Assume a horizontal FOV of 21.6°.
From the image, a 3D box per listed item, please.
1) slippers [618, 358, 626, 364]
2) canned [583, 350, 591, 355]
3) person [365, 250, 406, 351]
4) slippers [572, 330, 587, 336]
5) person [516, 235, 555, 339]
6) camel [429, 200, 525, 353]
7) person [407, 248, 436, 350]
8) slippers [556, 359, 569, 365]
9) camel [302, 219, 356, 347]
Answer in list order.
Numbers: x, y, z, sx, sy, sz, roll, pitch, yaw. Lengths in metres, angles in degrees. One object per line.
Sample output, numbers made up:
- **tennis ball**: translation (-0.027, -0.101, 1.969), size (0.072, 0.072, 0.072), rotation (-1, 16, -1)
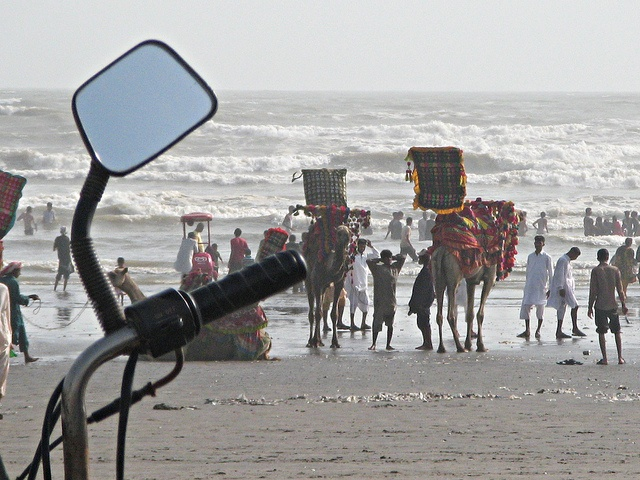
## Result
- **slippers**: translation (8.115, 3.245, 44.988), size (0.146, 0.083, 0.240), rotation (-1, 5, 8)
- **canned**: translation (7.333, 3.092, 45.934), size (0.142, 0.122, 0.109), rotation (2, 3, -33)
- **person**: translation (1.817, 1.628, 46.591), size (1.286, 2.792, 0.810), rotation (2, -1, -14)
- **slippers**: translation (7.526, 2.684, 48.386), size (0.413, 0.168, 0.450), rotation (1, 14, 6)
- **person**: translation (6.126, 1.304, 48.695), size (1.050, 2.946, 1.064), rotation (4, 10, 28)
- **camel**: translation (4.421, 0.779, 47.265), size (2.412, 4.249, 2.335), rotation (3, 11, 9)
- **person**: translation (2.866, 1.732, 46.659), size (0.674, 2.533, 1.142), rotation (1, 14, 4)
- **slippers**: translation (6.535, 3.259, 44.919), size (0.380, 0.088, 0.470), rotation (1, 13, 3)
- **camel**: translation (0.206, 1.279, 47.189), size (1.290, 3.420, 1.834), rotation (-1, 14, -1)
